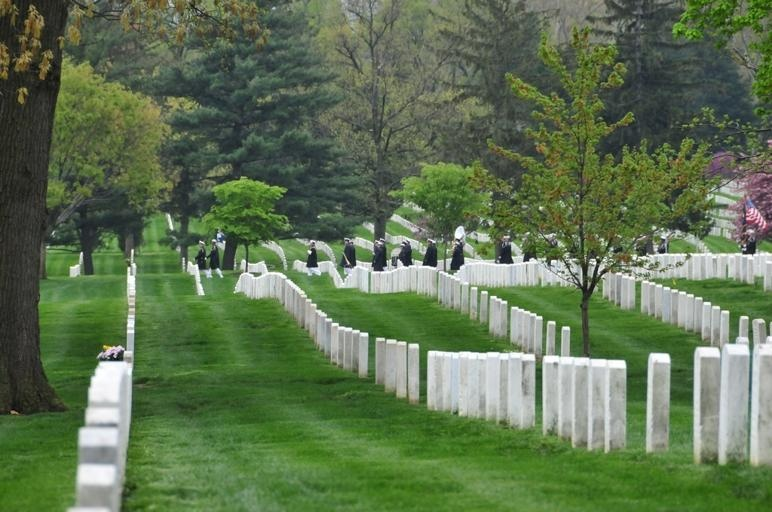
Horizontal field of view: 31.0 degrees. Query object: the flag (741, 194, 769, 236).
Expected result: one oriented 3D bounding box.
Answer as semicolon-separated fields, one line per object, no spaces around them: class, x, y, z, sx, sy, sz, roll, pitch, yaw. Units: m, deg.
flag;17.970;-2.010;67.825;1.103;0.805;2.223;-33;-50;2
